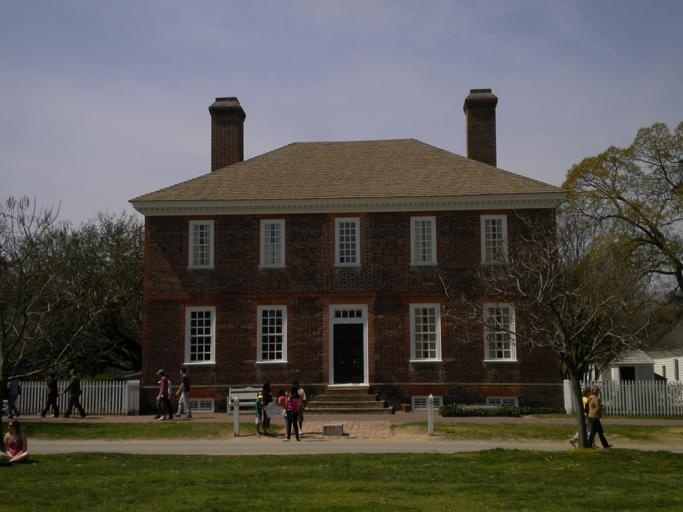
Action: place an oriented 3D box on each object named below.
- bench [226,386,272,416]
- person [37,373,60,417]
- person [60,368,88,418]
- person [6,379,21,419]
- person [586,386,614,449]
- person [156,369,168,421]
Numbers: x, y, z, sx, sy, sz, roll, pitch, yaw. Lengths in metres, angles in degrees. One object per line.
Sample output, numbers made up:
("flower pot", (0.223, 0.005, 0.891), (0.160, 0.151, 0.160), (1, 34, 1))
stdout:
("bench", (-3.872, 6.114, 48.884), (1.696, 1.355, 0.708), (1, -11, -1))
("person", (-12.750, 6.062, 50.900), (0.749, 2.034, 1.447), (2, -13, -14))
("person", (-11.626, 6.002, 50.649), (0.944, 2.052, 1.195), (3, -13, -14))
("person", (-14.229, 6.192, 50.282), (0.511, 1.616, 1.479), (2, -13, -11))
("person", (9.245, 5.767, 41.831), (0.733, 2.247, 1.160), (-3, -12, 11))
("person", (-7.612, 5.935, 49.657), (0.494, 2.127, 1.023), (1, -12, -9))
